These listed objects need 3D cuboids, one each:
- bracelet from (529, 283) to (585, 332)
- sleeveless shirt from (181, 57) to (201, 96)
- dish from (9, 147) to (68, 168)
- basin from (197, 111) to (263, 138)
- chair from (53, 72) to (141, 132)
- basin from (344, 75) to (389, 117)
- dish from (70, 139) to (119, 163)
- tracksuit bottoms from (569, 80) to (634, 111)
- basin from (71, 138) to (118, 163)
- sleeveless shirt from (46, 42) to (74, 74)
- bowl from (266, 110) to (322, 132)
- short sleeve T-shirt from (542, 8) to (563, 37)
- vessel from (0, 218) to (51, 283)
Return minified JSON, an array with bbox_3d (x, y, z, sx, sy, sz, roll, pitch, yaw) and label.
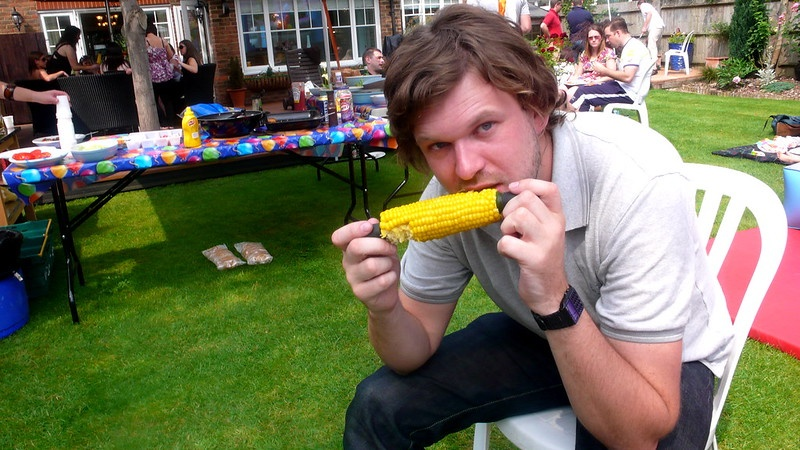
[{"bbox_3d":[0.824,0.457,2.536,0.272,0.180,0.287,-16,-26,8],"label":"bracelet"},{"bbox_3d":[-3.929,-2.782,9.340,0.348,0.672,0.611,-11,21,-20],"label":"sleeveless shirt"},{"bbox_3d":[-3.378,-0.632,4.625,0.503,0.143,0.377,10,23,33],"label":"dish"},{"bbox_3d":[-1.726,-1.045,5.109,0.388,0.117,0.372,-3,17,1],"label":"basin"},{"bbox_3d":[-4.631,-1.951,8.068,1.266,0.805,1.099,-7,5,1],"label":"chair"},{"bbox_3d":[-0.422,-1.637,6.341,0.865,0.386,1.229,-2,11,-6],"label":"basin"},{"bbox_3d":[-2.854,-0.705,4.732,0.320,0.125,0.314,-8,12,-5],"label":"dish"},{"bbox_3d":[3.268,-2.135,8.277,1.011,0.327,0.736,8,4,20],"label":"tracksuit bottoms"},{"bbox_3d":[-2.873,-0.702,4.737,0.322,0.126,0.316,-7,12,2],"label":"basin"},{"bbox_3d":[-6.863,-3.349,10.023,0.498,0.588,0.533,15,27,41],"label":"sleeveless shirt"},{"bbox_3d":[-1.138,-1.098,5.247,0.439,0.068,0.281,-6,29,-10],"label":"bowl"},{"bbox_3d":[3.703,-4.837,11.926,0.290,0.609,0.760,10,29,41],"label":"short sleeve T-shirt"},{"bbox_3d":[-3.962,0.249,5.315,0.509,0.301,0.758,-4,9,-28],"label":"vessel"}]
